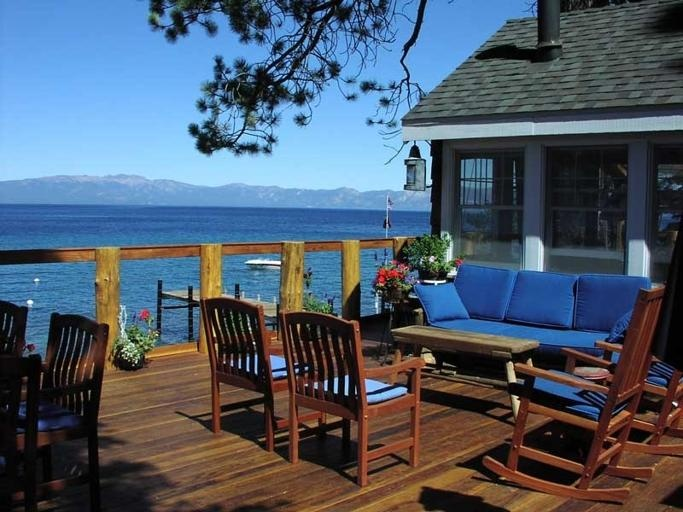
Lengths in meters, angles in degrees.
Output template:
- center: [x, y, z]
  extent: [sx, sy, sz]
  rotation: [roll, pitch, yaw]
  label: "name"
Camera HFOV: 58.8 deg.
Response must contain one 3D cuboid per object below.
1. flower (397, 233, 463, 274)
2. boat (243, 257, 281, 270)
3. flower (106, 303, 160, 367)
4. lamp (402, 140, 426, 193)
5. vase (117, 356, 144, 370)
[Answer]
- center: [1.086, -0.045, 7.718]
  extent: [0.545, 0.369, 0.539]
  rotation: [0, 6, -13]
  label: "flower"
- center: [-6.115, 0.601, 46.343]
  extent: [2.615, 0.786, 0.886]
  rotation: [3, 2, 27]
  label: "boat"
- center: [-2.203, 0.871, 6.481]
  extent: [0.422, 0.591, 0.464]
  rotation: [-2, -1, -3]
  label: "flower"
- center: [0.946, -1.157, 7.698]
  extent: [0.316, 0.640, 0.307]
  rotation: [2, 6, 16]
  label: "lamp"
- center: [-2.195, 1.109, 6.255]
  extent: [0.163, 0.064, 0.165]
  rotation: [1, 2, -10]
  label: "vase"
